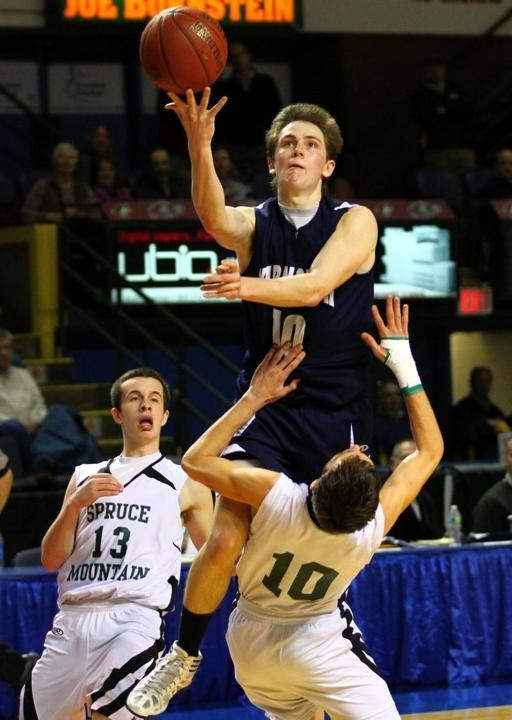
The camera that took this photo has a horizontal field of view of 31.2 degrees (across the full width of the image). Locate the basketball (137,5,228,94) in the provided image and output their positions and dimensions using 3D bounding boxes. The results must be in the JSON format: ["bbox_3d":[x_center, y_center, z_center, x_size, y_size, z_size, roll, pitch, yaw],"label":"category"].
[{"bbox_3d":[-0.202,-0.907,2.685,0.232,0.283,0.231,8,8,36],"label":"basketball"}]

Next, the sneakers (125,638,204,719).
[{"bbox_3d":[-0.271,0.974,2.845,0.113,0.141,0.345,37,13,13],"label":"sneakers"}]
